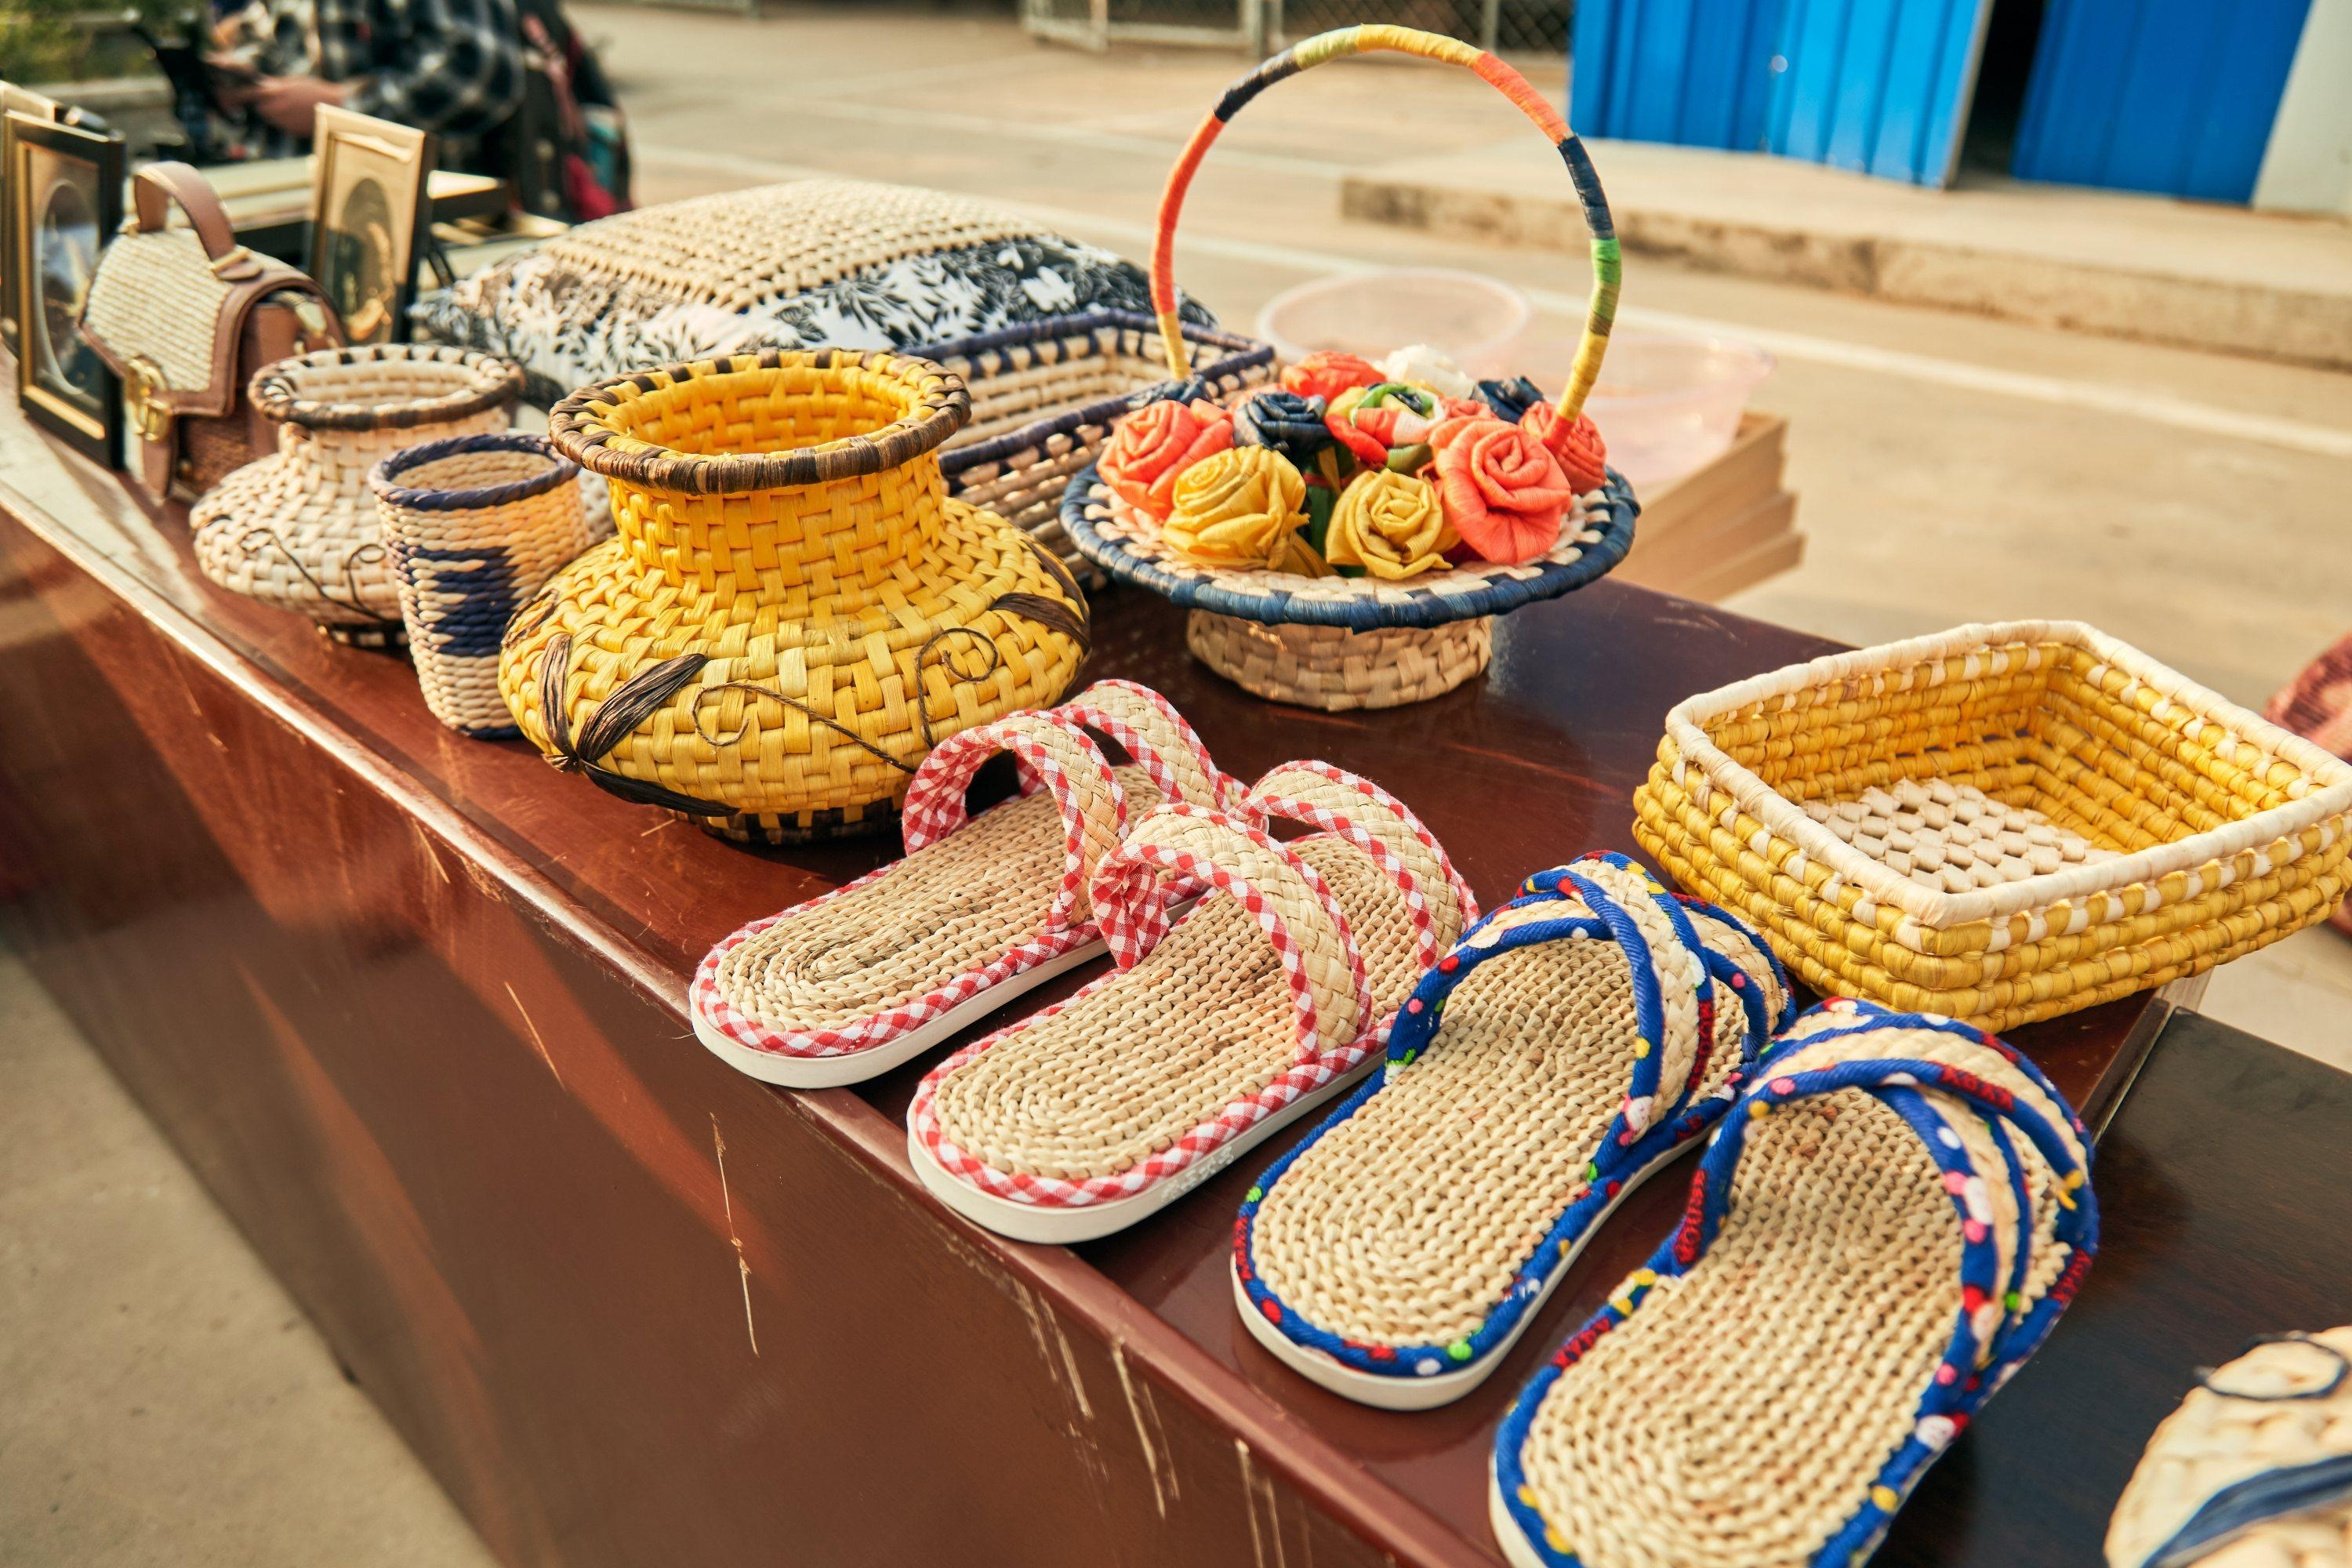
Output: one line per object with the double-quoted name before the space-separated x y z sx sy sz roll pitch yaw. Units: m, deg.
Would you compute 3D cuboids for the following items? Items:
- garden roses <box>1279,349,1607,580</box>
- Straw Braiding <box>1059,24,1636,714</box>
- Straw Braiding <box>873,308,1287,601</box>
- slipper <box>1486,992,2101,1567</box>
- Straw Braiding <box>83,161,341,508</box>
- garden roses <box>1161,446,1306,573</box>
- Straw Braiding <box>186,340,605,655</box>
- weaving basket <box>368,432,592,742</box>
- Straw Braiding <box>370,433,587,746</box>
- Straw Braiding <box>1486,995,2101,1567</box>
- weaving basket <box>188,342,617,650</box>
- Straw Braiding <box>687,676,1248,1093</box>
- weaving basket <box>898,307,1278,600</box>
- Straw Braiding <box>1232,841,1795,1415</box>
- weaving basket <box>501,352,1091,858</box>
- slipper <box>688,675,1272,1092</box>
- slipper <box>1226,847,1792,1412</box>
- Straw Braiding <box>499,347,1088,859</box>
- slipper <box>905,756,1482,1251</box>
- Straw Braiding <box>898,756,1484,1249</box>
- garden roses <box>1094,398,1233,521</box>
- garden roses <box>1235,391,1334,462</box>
"garden roses" 0.221 -0.291 1.660 0.232 0.082 0.237 34 62 24
"Straw Braiding" 0.160 -0.391 1.670 0.527 0.574 0.519 8 27 12
"Straw Braiding" -0.094 -0.388 1.879 0.258 0.145 0.361 27 43 33
"slipper" 0.454 0.386 1.326 0.258 0.172 0.522 33 66 31
"Straw Braiding" -1.092 -0.518 2.124 0.358 0.363 0.197 26 33 33
"garden roses" 0.049 -0.247 1.641 0.095 0.058 0.126 -38 80 -11
"Straw Braiding" -0.843 -0.296 1.859 0.334 0.224 0.348 17 32 8
"weaving basket" -0.627 -0.183 1.726 0.172 0.226 0.170 -18 24 -33
"Straw Braiding" -0.622 -0.183 1.724 0.171 0.229 0.175 -10 14 -20
"Straw Braiding" 0.456 0.386 1.323 0.258 0.177 0.522 33 66 32
"weaving basket" -0.743 -0.264 1.771 0.329 0.216 0.340 -20 40 -40
"Straw Braiding" -0.153 0.037 1.536 0.231 0.199 0.538 28 37 36
"weaving basket" -0.096 -0.392 1.892 0.257 0.133 0.360 24 40 33
"Straw Braiding" 0.284 0.246 1.435 0.252 0.178 0.536 33 59 32
"weaving basket" -0.355 -0.119 1.617 0.445 0.295 0.443 20 38 32
"slipper" -0.138 0.075 1.578 0.537 0.192 0.224 -29 52 -29
"slipper" 0.284 0.238 1.442 0.251 0.178 0.536 33 59 32
"Straw Braiding" -0.348 -0.175 1.688 0.455 0.315 0.461 -19 29 -24
"slipper" 0.035 0.173 1.469 0.475 0.174 0.251 -34 51 -29
"Straw Braiding" 0.050 0.112 1.489 0.294 0.217 0.606 13 29 28
"garden roses" -0.014 -0.302 1.676 0.113 0.077 0.111 20 58 45
"garden roses" 0.102 -0.329 1.687 0.063 0.036 0.075 -4 22 -11
